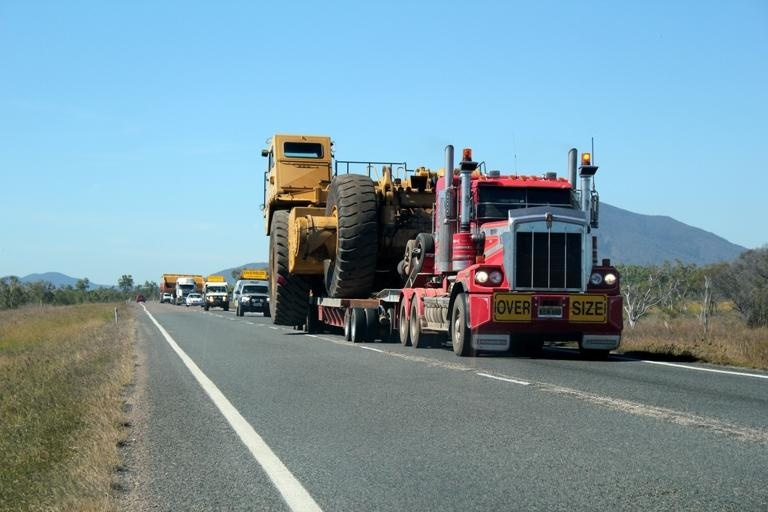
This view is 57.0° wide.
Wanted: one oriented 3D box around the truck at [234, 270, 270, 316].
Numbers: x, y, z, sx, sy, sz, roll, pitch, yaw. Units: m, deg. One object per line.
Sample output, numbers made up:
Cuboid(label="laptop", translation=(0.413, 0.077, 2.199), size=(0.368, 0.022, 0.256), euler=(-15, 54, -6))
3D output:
Cuboid(label="truck", translation=(-9.726, 2.900, 52.742), size=(2.646, 3.566, 5.910), euler=(3, -4, -18))

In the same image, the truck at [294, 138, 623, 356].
Cuboid(label="truck", translation=(2.440, 0.128, 23.984), size=(3.919, 5.933, 15.053), euler=(3, -4, -12))

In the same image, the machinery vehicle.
Cuboid(label="machinery vehicle", translation=(-1.076, -0.823, 26.495), size=(5.141, 6.623, 7.788), euler=(2, 0, -21))

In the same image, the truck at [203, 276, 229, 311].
Cuboid(label="truck", translation=(-16.444, 3.580, 69.031), size=(2.264, 3.344, 5.210), euler=(1, 2, -21))
